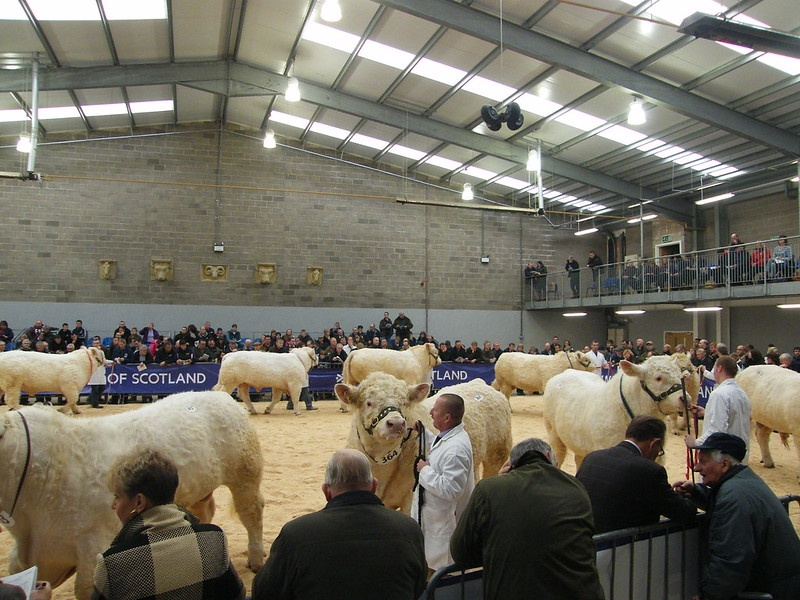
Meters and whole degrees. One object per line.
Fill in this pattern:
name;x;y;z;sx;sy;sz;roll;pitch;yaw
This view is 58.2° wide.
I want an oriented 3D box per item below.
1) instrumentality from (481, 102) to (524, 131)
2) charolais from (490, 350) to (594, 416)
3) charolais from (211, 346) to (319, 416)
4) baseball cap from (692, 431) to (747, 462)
instrumentality;2.255;-4.149;16.179;0.924;0.433;0.937;1;-18;1
charolais;3.122;1.831;16.509;1.511;1.309;2.043;4;2;-34
charolais;-2.940;1.800;15.851;2.504;1.482;0.639;1;-5;-21
baseball cap;3.219;1.463;7.219;0.394;0.159;0.283;6;-12;18
